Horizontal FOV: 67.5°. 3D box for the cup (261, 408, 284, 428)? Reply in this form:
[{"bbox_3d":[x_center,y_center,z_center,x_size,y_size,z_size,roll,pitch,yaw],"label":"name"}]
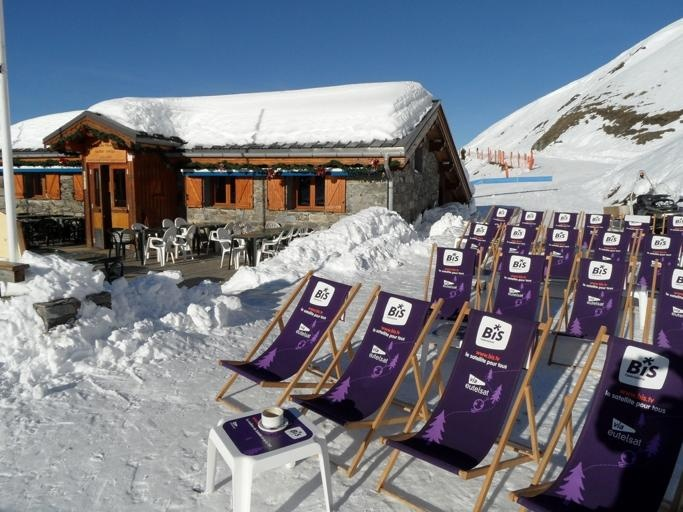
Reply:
[{"bbox_3d":[-0.547,1.284,4.055,0.148,0.089,0.146,0,2,0],"label":"cup"}]
